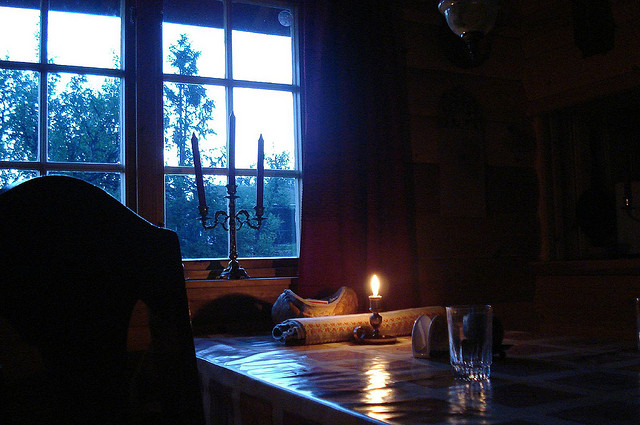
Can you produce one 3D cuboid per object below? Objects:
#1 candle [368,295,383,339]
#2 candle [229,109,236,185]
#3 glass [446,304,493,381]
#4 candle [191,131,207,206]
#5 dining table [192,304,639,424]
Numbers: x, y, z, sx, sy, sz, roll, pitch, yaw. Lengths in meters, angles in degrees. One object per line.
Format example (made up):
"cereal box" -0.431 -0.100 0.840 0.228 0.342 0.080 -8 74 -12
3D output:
"candle" 0.187 0.353 1.874 0.059 0.139 0.052 3 -12 -12
"candle" -0.364 -0.258 2.316 0.026 0.290 0.068 -2 2 -3
"glass" 0.375 0.323 1.407 0.108 0.184 0.079 -1 2 0
"candle" -0.503 -0.172 2.314 0.043 0.292 0.189 -2 1 -11
"dining table" 0.315 0.346 1.563 1.302 0.230 0.811 -1 1 1
